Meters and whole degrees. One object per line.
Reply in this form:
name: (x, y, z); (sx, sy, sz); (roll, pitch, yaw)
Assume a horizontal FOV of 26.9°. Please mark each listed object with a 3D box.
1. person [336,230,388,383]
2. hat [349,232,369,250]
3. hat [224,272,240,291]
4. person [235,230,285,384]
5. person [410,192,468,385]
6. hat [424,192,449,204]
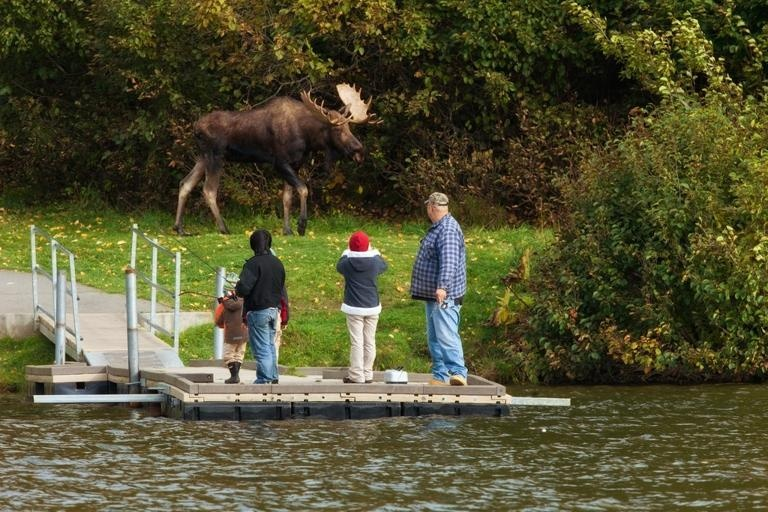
person: (-0.469, 0.913, 27.538); (0.781, 2.604, 0.448); (0, 5, -25)
hat: (-0.483, -0.246, 27.506); (0.241, 0.227, 0.352); (-4, 19, 0)
hat: (-2.929, 0.482, 30.282); (0.385, 0.331, 0.414); (2, -10, -5)
person: (-2.159, 0.882, 27.241); (0.895, 2.609, 0.457); (1, 4, -18)
person: (0.956, 0.592, 27.562); (0.763, 3.262, 0.839); (-1, 5, -37)
hat: (0.822, -0.955, 27.530); (0.253, 0.178, 0.341); (0, 7, -36)
